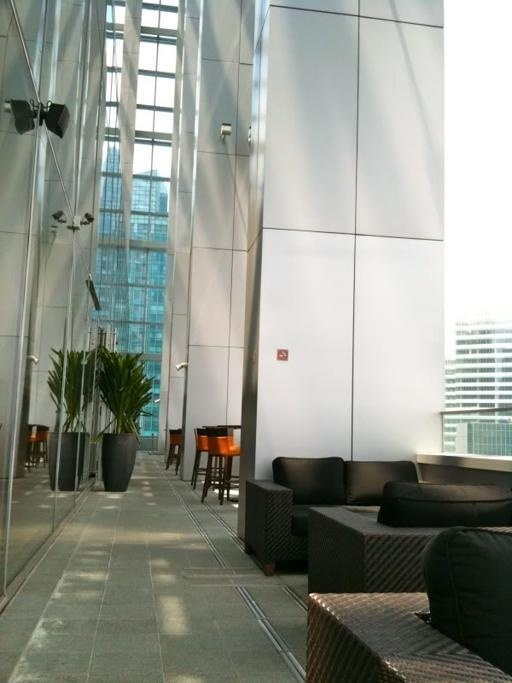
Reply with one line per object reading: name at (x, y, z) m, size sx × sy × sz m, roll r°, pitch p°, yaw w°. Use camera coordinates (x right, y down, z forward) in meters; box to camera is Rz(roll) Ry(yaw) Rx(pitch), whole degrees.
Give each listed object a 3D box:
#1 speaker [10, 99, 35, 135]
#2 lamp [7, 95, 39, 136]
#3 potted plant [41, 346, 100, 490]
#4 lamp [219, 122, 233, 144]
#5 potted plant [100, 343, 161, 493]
speaker at (-1.117, -1.074, 2.619) m, size 0.041 × 0.256 × 0.126 m, roll -8°, pitch -10°, yaw 18°
lamp at (-1.122, -1.012, 2.643) m, size 0.056 × 0.293 × 0.154 m, roll 3°, pitch 10°, yaw 25°
potted plant at (-1.732, 0.702, 5.130) m, size 0.340 × 1.231 × 0.340 m, roll 5°, pitch -2°, yaw -29°
lamp at (-0.523, -3.629, 9.565) m, size 0.204 × 0.445 × 0.250 m, roll -1°, pitch 14°, yaw -15°
potted plant at (-1.851, 1.063, 7.652) m, size 0.771 × 1.956 × 1.397 m, roll 3°, pitch -8°, yaw -15°
